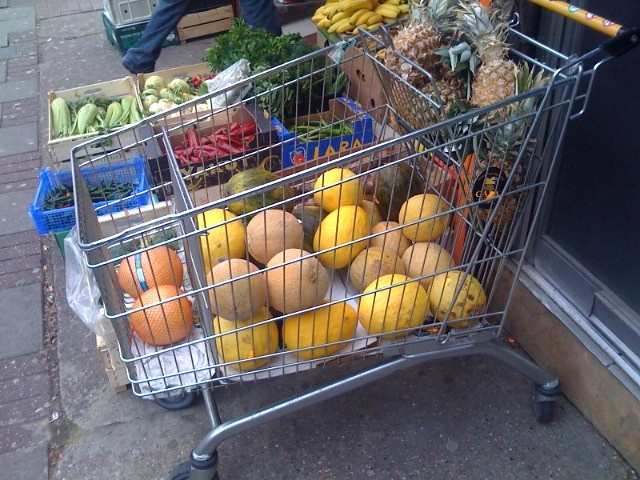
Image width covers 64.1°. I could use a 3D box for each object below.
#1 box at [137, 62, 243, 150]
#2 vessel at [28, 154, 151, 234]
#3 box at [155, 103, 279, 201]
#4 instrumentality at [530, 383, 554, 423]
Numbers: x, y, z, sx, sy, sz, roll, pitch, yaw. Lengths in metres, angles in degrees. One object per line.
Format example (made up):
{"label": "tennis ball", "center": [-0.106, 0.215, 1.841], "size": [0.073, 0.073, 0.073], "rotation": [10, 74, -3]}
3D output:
{"label": "box", "center": [-1.375, -1.294, 4.938], "size": [0.884, 0.952, 0.379], "rotation": [-14, 83, -21]}
{"label": "vessel", "center": [-1.806, -0.484, 4.168], "size": [0.669, 0.448, 1.088], "rotation": [-10, 11, -8]}
{"label": "box", "center": [-0.632, -0.542, 3.195], "size": [0.633, 0.466, 0.450], "rotation": [-23, 41, -6]}
{"label": "instrumentality", "center": [1.107, 0.807, 2.548], "size": [0.106, 0.188, 0.119], "rotation": [-16, 39, -2]}
